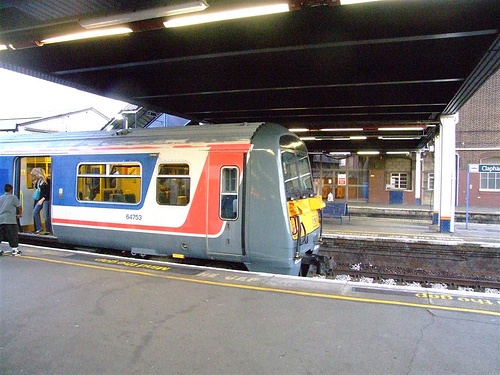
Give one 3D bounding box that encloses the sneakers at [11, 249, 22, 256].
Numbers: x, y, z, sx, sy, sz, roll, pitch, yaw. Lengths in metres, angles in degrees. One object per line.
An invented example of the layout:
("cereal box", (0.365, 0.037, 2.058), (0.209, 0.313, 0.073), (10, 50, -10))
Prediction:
("sneakers", (-5.843, 1.627, 9.372), (0.222, 0.177, 0.127), (-1, -2, 1))
